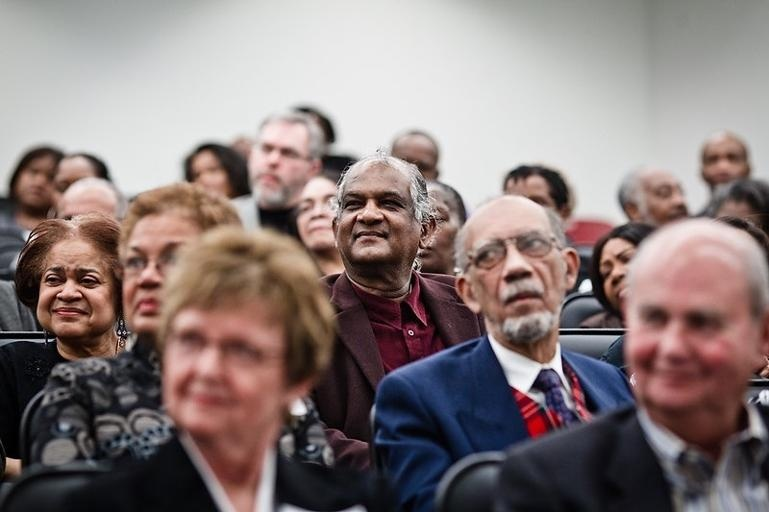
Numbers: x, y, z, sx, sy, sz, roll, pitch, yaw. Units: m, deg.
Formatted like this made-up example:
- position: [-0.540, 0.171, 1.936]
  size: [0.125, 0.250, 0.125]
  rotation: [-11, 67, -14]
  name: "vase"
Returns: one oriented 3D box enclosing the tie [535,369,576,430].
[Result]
- position: [0.911, 0.751, 6.120]
  size: [0.102, 0.268, 0.216]
  rotation: [-22, -19, -32]
  name: "tie"
